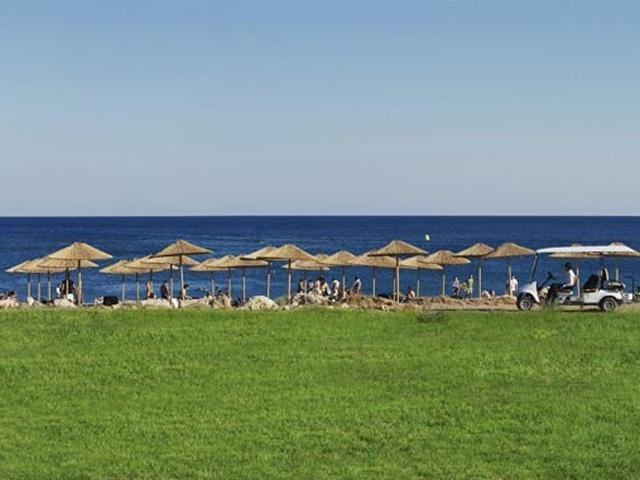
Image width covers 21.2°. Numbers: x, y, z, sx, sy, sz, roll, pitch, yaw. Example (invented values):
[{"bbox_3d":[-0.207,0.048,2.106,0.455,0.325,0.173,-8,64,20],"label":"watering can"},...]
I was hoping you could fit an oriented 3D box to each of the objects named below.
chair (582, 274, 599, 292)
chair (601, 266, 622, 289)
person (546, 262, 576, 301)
[{"bbox_3d":[12.330,2.064,77.699,0.847,0.866,0.672,4,0,5],"label":"chair"},{"bbox_3d":[13.232,1.856,78.037,1.245,1.008,1.000,2,-7,6],"label":"chair"},{"bbox_3d":[11.160,2.211,78.075,1.457,2.167,0.950,-1,9,26],"label":"person"}]
